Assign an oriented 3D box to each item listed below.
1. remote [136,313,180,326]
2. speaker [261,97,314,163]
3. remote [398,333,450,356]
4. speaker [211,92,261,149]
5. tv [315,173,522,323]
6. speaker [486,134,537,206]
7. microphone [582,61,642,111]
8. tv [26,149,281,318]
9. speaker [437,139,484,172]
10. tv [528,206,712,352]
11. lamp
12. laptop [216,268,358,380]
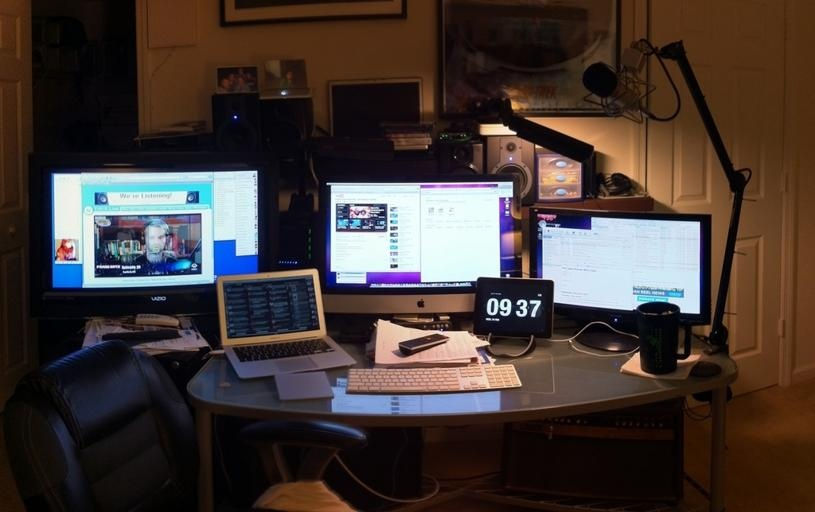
[{"bbox_3d":[-1.140,0.294,3.241,0.146,0.031,0.078,3,2,-8],"label":"remote"},{"bbox_3d":[-0.626,-0.654,3.692,0.267,0.326,0.111,-4,9,-10],"label":"speaker"},{"bbox_3d":[0.069,0.368,3.099,0.184,0.039,0.087,-13,17,-38],"label":"remote"},{"bbox_3d":[-0.861,-0.676,3.763,0.287,0.329,0.223,-1,6,1],"label":"speaker"},{"bbox_3d":[0.046,-0.042,3.286,0.755,0.455,0.171,0,2,-1],"label":"tv"},{"bbox_3d":[0.500,-0.463,3.843,0.322,0.386,0.234,-8,9,-25],"label":"speaker"},{"bbox_3d":[1.047,-0.828,3.557,0.350,0.145,0.207,1,11,-41],"label":"microphone"},{"bbox_3d":[-1.175,-0.095,3.236,0.842,0.513,0.127,0,1,-4],"label":"tv"},{"bbox_3d":[0.278,-0.538,3.805,0.256,0.129,0.232,-6,-6,0],"label":"speaker"},{"bbox_3d":[0.947,0.110,3.177,0.694,0.474,0.263,1,-2,20],"label":"tv"},{"bbox_3d":[0.697,-0.656,3.659,0.710,0.363,0.838,-5,9,-16],"label":"lamp"},{"bbox_3d":[-0.520,0.286,3.070,0.607,0.274,0.599,18,21,29],"label":"laptop"}]
